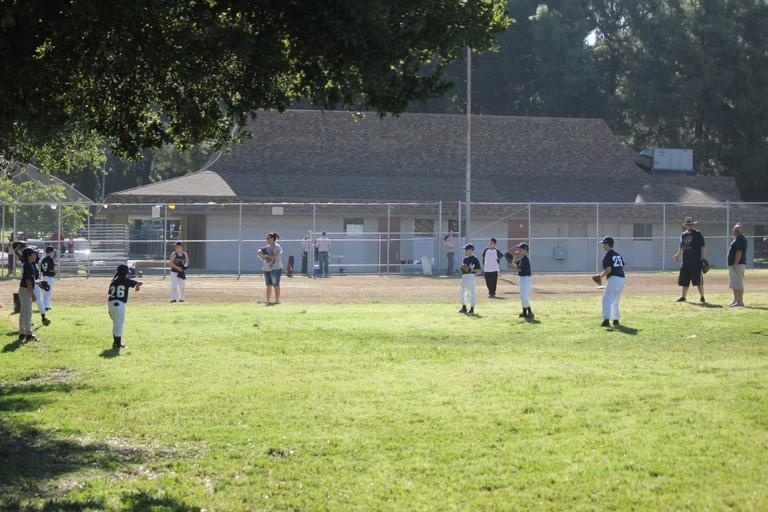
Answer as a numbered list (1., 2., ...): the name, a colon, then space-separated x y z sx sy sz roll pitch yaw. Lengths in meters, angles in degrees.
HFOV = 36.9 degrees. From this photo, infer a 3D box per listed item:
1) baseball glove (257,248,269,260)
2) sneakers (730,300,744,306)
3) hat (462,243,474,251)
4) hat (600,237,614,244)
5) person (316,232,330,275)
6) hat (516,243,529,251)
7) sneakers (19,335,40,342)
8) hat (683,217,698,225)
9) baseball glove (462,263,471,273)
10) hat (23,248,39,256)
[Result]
1. baseball glove: -3.963 -0.076 37.836 0.343 0.410 0.468 5 -7 21
2. sneakers: 10.943 1.479 35.615 0.462 0.190 0.179 1 -3 -2
3. hat: 2.615 -0.288 35.645 0.333 0.168 0.241 8 -1 11
4. hat: 6.913 -0.468 35.607 0.501 0.268 0.372 5 3 44
5. person: -2.624 -0.061 49.288 0.514 1.923 1.459 -1 10 -4
6. hat: 4.696 -0.309 38.975 0.417 0.244 0.301 -8 12 -32
7. sneakers: -9.672 2.250 31.281 0.571 0.230 0.188 0 1 -2
8. hat: 12.143 -1.398 45.656 0.825 0.307 0.820 -3 -1 11
9. baseball glove: 2.492 0.409 35.280 0.206 0.332 0.402 -7 12 -32
10. hat: -9.784 -0.120 31.891 0.291 0.229 0.536 2 10 12
